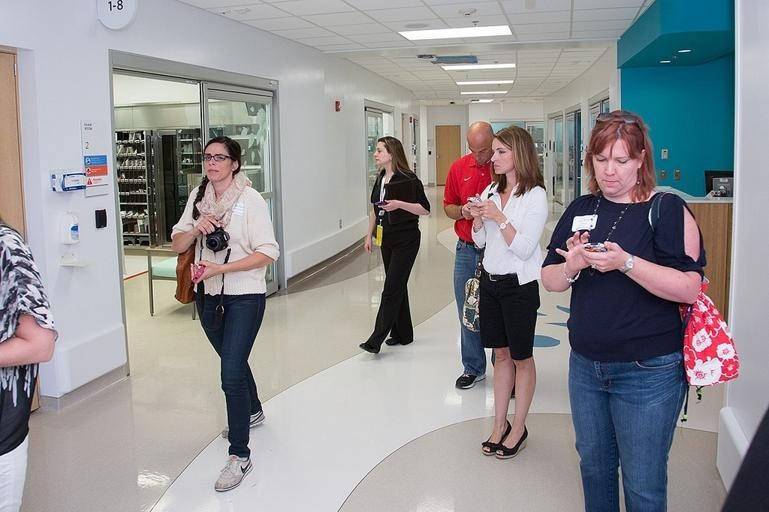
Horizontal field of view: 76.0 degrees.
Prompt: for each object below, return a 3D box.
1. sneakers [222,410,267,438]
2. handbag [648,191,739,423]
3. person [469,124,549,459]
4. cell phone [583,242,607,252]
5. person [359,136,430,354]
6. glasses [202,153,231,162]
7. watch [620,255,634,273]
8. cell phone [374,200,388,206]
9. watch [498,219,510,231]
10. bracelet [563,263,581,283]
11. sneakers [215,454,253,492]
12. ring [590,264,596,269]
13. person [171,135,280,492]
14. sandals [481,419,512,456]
[{"bbox_3d":[-1.107,1.310,3.882,0.155,0.179,0.422,1,1,14],"label":"sneakers"},{"bbox_3d":[1.438,0.306,2.329,0.396,1.209,0.507,8,15,36],"label":"handbag"},{"bbox_3d":[0.863,0.259,3.523,0.531,2.289,0.567,1,13,9],"label":"person"},{"bbox_3d":[0.896,-0.035,2.122,0.087,0.034,0.034,4,13,21],"label":"cell phone"},{"bbox_3d":[0.104,-0.082,5.208,0.708,2.278,0.827,0,13,5],"label":"person"},{"bbox_3d":[-1.151,-0.681,3.418,0.167,0.057,0.066,-4,13,-11],"label":"glasses"},{"bbox_3d":[1.028,0.034,2.115,0.037,0.060,0.050,23,29,14],"label":"watch"},{"bbox_3d":[-0.030,-0.543,5.100,0.041,0.047,0.180,-6,3,-42],"label":"cell phone"},{"bbox_3d":[0.782,-0.206,3.259,0.059,0.031,0.059,-23,10,29],"label":"watch"},{"bbox_3d":[0.884,0.079,2.329,0.073,0.086,0.028,-1,7,7],"label":"bracelet"},{"bbox_3d":[-1.011,1.453,3.324,0.109,0.115,0.289,0,5,15],"label":"sneakers"},{"bbox_3d":[0.931,0.049,2.221,0.027,0.012,0.037,3,-14,19],"label":"ring"},{"bbox_3d":[-1.052,0.337,3.442,0.668,2.268,0.830,-7,14,-22],"label":"person"},{"bbox_3d":[0.860,1.347,3.611,0.310,0.117,0.132,-38,14,-37],"label":"sandals"}]
